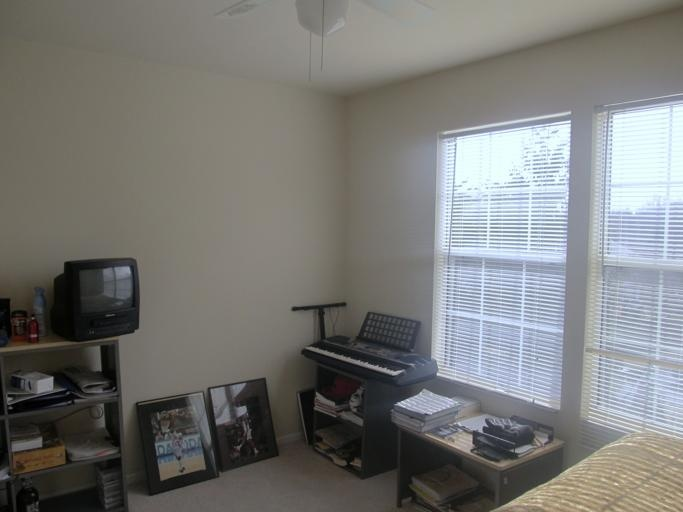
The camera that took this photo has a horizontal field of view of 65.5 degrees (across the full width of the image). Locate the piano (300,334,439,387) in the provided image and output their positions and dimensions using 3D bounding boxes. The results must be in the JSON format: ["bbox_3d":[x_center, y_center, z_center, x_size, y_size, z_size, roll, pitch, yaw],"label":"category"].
[{"bbox_3d":[0.219,0.826,4.255,1.021,0.154,0.516,7,10,43],"label":"piano"}]

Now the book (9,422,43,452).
[{"bbox_3d":[-2.003,1.156,3.376,0.141,0.041,0.150,-6,14,-41],"label":"book"}]

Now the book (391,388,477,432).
[{"bbox_3d":[0.662,1.075,3.705,0.384,0.129,0.281,-1,0,-40],"label":"book"}]

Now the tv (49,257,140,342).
[{"bbox_3d":[-1.681,0.257,3.649,0.425,0.537,0.537,-5,11,-39],"label":"tv"}]

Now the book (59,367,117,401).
[{"bbox_3d":[-1.732,0.846,3.612,0.276,0.122,0.384,-6,10,-39],"label":"book"}]

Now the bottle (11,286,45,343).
[{"bbox_3d":[-2.036,0.370,3.460,0.185,0.307,0.321,-3,8,-15],"label":"bottle"}]

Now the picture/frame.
[{"bbox_3d":[-1.076,1.396,4.055,0.792,0.560,0.031,-5,-13,-38],"label":"picture/frame"}]

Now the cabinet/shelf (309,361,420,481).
[{"bbox_3d":[0.140,1.223,4.472,0.714,0.968,0.968,1,0,-31],"label":"cabinet/shelf"}]
